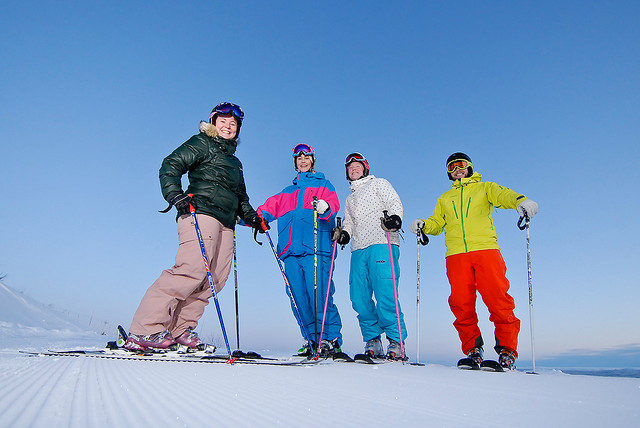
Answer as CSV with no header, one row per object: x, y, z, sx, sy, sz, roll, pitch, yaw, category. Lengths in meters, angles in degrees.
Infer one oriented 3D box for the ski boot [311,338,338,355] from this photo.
0.099,1.603,6.414,0.155,0.183,0.428,-6,-18,11,ski boot

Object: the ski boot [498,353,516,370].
1.950,1.544,5.508,0.220,0.170,0.111,9,-20,-31,ski boot

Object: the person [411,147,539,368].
1.782,0.434,5.992,1.225,2.557,0.507,-10,-19,23,person

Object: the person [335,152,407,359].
0.681,0.448,6.790,0.850,2.769,0.538,-8,-18,19,person

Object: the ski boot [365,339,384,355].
0.665,1.643,6.501,0.247,0.189,0.120,1,-18,-11,ski boot

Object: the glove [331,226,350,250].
0.268,0.309,6.883,0.134,0.242,0.248,-14,-21,34,glove

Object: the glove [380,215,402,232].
0.890,0.111,6.636,0.223,0.233,0.364,2,-18,-13,glove

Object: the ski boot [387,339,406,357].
0.916,1.600,6.312,0.192,0.215,0.274,-4,-18,5,ski boot

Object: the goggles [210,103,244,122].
-1.077,-1.207,6.171,0.330,0.156,0.185,5,-19,-22,goggles

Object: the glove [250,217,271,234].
-0.741,0.146,6.379,0.225,0.226,0.312,0,-18,-6,glove

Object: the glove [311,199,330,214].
0.053,-0.078,6.734,0.099,0.180,0.253,-15,-22,36,glove

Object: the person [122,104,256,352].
-1.394,0.071,5.775,1.239,2.780,0.736,6,-19,-24,person

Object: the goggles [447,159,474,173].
1.718,-0.601,6.471,0.296,0.134,0.185,-7,-18,12,goggles
